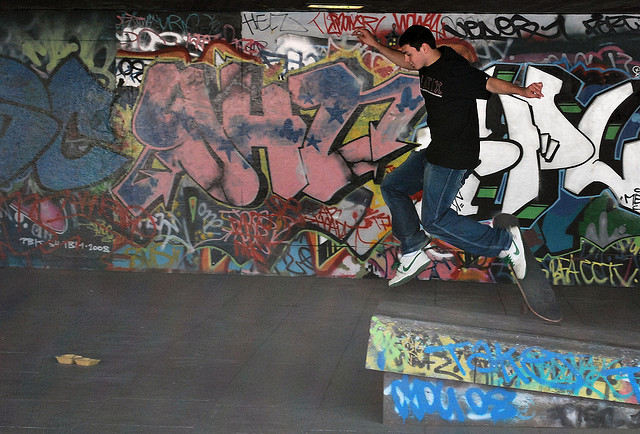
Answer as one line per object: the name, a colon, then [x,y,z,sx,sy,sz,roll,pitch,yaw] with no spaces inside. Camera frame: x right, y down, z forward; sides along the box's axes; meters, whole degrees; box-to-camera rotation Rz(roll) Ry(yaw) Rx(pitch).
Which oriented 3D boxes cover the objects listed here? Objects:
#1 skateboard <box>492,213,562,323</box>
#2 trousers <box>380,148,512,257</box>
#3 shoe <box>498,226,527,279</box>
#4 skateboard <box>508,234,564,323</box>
skateboard: [2.850,0.656,7.301,0.437,1.541,0.239,-22,-14,-6]
trousers: [1.400,-0.154,6.133,1.424,1.220,0.529,3,16,14]
shoe: [2.253,0.420,6.322,0.356,0.672,0.238,-16,10,2]
skateboard: [2.376,0.552,5.905,0.446,0.247,1.772,32,-13,38]
